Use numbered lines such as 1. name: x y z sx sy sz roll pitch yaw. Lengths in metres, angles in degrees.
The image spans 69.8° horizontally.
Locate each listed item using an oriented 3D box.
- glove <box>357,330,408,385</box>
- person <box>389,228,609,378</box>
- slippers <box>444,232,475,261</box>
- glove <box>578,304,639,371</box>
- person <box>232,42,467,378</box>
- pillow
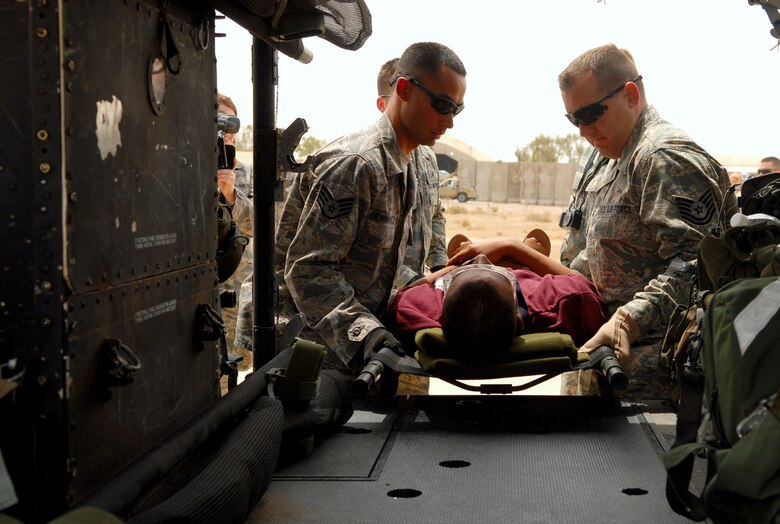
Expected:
1. glove: -0.049 0.460 2.669 0.191 0.125 0.283 2 26 12
2. person: 0.574 0.224 2.979 1.040 0.533 1.374 0 1 8
3. slippers: 0.429 -0.101 3.677 0.112 0.181 0.055 25 6 15
4. glove: 1.138 0.406 2.868 0.342 0.134 0.257 -34 51 -23
5. person: 0.081 -0.364 3.998 0.920 2.365 0.551 -13 41 -38
6. pillow: 0.504 0.414 2.680 0.761 0.162 0.227 -1 8 0
